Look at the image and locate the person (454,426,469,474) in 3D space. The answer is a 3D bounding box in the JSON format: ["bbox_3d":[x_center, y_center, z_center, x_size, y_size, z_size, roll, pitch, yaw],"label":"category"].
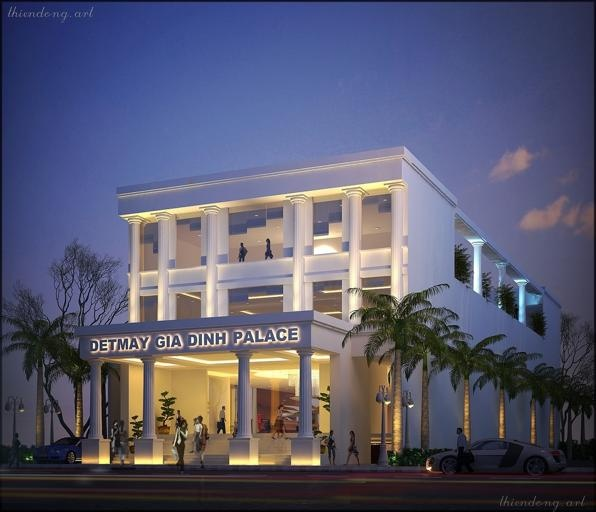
[{"bbox_3d":[6.097,7.303,32.090,0.455,1.411,0.628,-3,-12,10],"label":"person"}]

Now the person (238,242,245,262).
[{"bbox_3d":[-3.199,-0.262,50.314,0.377,1.235,0.540,0,-12,-4],"label":"person"}]
